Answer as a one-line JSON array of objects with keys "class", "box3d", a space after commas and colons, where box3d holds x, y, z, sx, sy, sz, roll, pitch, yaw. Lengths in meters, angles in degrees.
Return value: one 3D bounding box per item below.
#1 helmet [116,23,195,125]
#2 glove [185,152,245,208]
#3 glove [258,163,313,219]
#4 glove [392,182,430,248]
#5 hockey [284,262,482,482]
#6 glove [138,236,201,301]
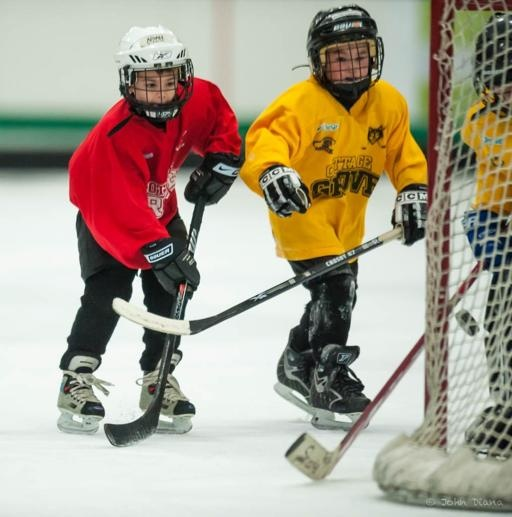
[{"class": "helmet", "box3d": [-0.300, -0.527, 2.204, 0.255, 0.253, 0.282, -10, 35, -18]}, {"class": "glove", "box3d": [-0.161, -0.253, 2.513, 0.200, 0.140, 0.079, -41, 42, 23]}, {"class": "glove", "box3d": [0.082, -0.184, 2.141, 0.117, 0.142, 0.066, -38, -3, 9]}, {"class": "glove", "box3d": [0.457, -0.134, 2.261, 0.144, 0.150, 0.069, 3, 1, -15]}, {"class": "hockey", "box3d": [0.339, 0.316, 2.124, 0.819, 0.085, 0.096, -32, 18, -15]}, {"class": "glove", "box3d": [-0.239, 0.020, 2.184, 0.129, 0.196, 0.065, -23, 44, 13]}]
